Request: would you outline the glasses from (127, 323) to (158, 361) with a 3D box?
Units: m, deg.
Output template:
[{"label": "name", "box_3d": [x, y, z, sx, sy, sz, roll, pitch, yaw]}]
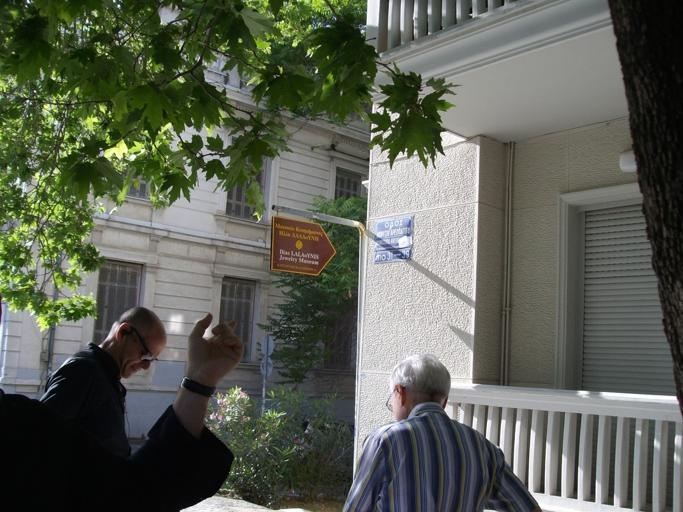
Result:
[{"label": "glasses", "box_3d": [-1.313, 0.571, 3.711, 0.056, 0.204, 0.197, -24, -23, 5]}]

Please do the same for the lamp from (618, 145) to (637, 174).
[{"label": "lamp", "box_3d": [2.667, -0.873, 5.305, 0.130, 0.340, 0.476, -2, -12, 24]}]

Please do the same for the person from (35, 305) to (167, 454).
[{"label": "person", "box_3d": [-1.539, 0.769, 3.795, 0.487, 0.878, 0.910, 24, -14, -3]}]
